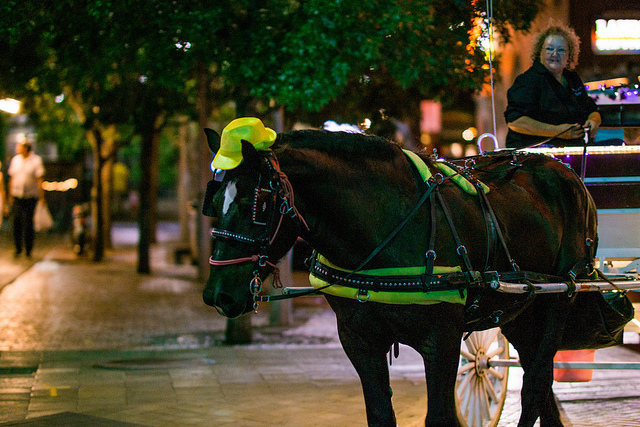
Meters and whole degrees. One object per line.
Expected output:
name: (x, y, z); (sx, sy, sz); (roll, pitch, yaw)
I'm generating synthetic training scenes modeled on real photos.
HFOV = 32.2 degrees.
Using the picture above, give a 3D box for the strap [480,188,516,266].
strap: (1.965, 0.154, 12.441); (0.145, 1.007, 0.088); (-24, -7, 27)

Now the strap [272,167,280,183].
strap: (-0.463, -0.391, 11.730); (0.095, 0.117, 0.038); (-7, -9, -9)

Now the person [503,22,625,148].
person: (2.901, -1.557, 13.640); (1.278, 1.563, 0.926); (1, 7, -6)

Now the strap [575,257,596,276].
strap: (3.106, 0.630, 13.108); (0.265, 0.093, 0.177); (-17, 7, -10)

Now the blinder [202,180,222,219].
blinder: (-1.150, -0.153, 11.883); (0.184, 0.408, 0.277); (0, 7, -13)

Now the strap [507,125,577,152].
strap: (2.732, -0.911, 13.567); (0.101, 0.072, 0.726); (14, 31, 39)

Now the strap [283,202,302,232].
strap: (-0.272, 0.042, 11.846); (0.077, 0.276, 0.165); (-30, 8, -20)

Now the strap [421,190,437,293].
strap: (1.182, 0.337, 12.055); (0.155, 0.979, 0.125); (3, -11, 0)

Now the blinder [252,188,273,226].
blinder: (-0.600, -0.066, 11.711); (0.194, 0.393, 0.067); (2, 7, 0)

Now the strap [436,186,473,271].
strap: (1.452, 0.205, 12.142); (0.147, 1.008, 0.080); (-28, -11, 0)

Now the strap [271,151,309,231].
strap: (-0.338, -0.248, 11.836); (0.165, 1.041, 0.097); (-30, -6, 1)
